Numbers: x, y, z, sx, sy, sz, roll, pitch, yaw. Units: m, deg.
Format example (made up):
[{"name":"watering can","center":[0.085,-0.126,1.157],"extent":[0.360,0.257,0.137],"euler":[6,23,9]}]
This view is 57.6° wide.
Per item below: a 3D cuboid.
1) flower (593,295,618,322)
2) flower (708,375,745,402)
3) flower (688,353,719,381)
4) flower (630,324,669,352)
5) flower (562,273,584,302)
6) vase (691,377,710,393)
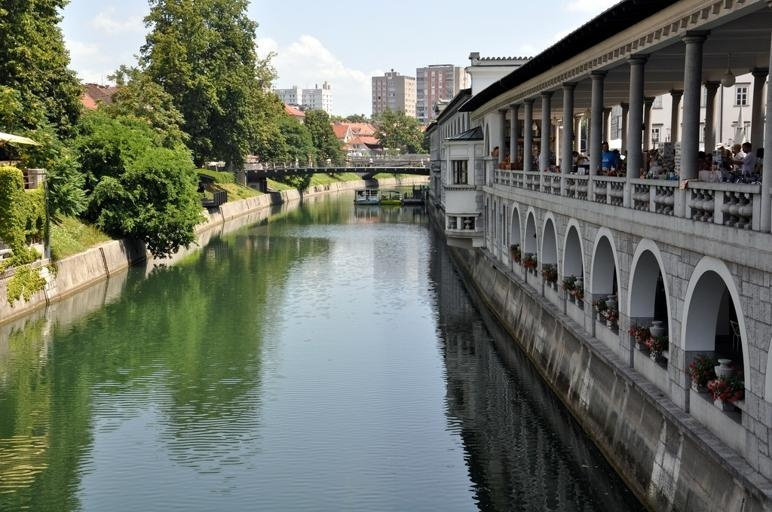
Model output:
[{"name":"flower","center":[7.124,1.691,22.487],"extent":[0.693,0.403,0.831],"euler":[-5,5,-15]},{"name":"flower","center":[7.677,2.974,15.819],"extent":[0.574,0.391,0.570],"euler":[-13,12,-37]},{"name":"flower","center":[7.612,2.677,16.943],"extent":[0.597,0.436,0.634],"euler":[-1,-3,-9]},{"name":"flower","center":[7.347,2.258,19.354],"extent":[0.663,0.357,0.825],"euler":[2,2,-14]},{"name":"flower","center":[7.006,1.211,25.894],"extent":[0.854,0.860,0.849],"euler":[-2,-6,-35]},{"name":"vase","center":[7.544,3.102,16.833],"extent":[0.280,0.347,0.523],"euler":[-1,-1,-2]}]
